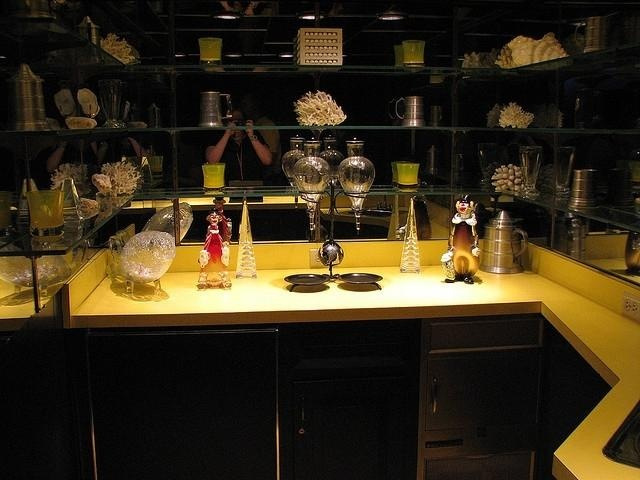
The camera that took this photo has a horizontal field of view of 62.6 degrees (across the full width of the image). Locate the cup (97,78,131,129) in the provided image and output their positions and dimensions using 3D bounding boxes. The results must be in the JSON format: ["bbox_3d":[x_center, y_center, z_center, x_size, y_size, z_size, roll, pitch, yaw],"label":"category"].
[{"bbox_3d":[-0.975,-0.636,2.504,0.127,0.222,0.299,-5,10,-20],"label":"cup"}]

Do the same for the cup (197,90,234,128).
[{"bbox_3d":[-0.555,-0.679,2.765,0.157,0.192,0.201,1,10,9],"label":"cup"}]

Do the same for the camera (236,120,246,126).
[{"bbox_3d":[-0.424,-0.629,2.837,0.036,0.033,0.012,1,0,1],"label":"camera"}]

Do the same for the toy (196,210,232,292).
[{"bbox_3d":[-0.540,0.043,2.655,0.161,0.369,0.263,-3,10,-10],"label":"toy"}]

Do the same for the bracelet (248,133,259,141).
[{"bbox_3d":[-0.359,-0.544,2.840,0.035,0.033,0.035,7,-15,-2],"label":"bracelet"}]

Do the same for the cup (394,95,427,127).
[{"bbox_3d":[0.481,-0.682,2.830,0.201,0.173,0.129,1,8,7],"label":"cup"}]

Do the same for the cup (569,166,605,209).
[{"bbox_3d":[1.230,-0.228,2.444,0.165,0.217,0.165,1,3,0],"label":"cup"}]

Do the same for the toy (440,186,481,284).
[{"bbox_3d":[0.718,0.015,2.692,0.179,0.410,0.101,0,10,6],"label":"toy"}]
